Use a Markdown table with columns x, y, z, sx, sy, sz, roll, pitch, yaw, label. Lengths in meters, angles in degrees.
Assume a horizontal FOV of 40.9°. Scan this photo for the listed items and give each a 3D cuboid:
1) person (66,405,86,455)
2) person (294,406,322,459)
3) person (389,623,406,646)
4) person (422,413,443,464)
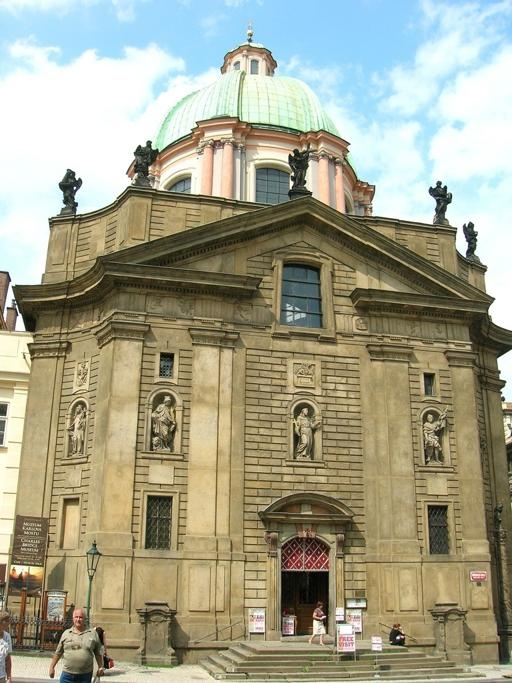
| x | y | z | sx | sy | sz | roll | pitch | yaw | label |
| --- | --- | --- | --- | --- | --- | --- | --- | --- | --- |
| -7.448 | 3.654 | 28.702 | 0.432 | 2.379 | 1.326 | 18 | -27 | -34 | person |
| 2.075 | 3.824 | 28.917 | 1.141 | 2.360 | 0.452 | 4 | -22 | -6 | person |
| 5.121 | 10.718 | 25.145 | 0.491 | 0.711 | 1.055 | -1 | -22 | 7 | person |
| 7.786 | 4.213 | 30.141 | 1.148 | 2.438 | 0.311 | 10 | -23 | -19 | person |
